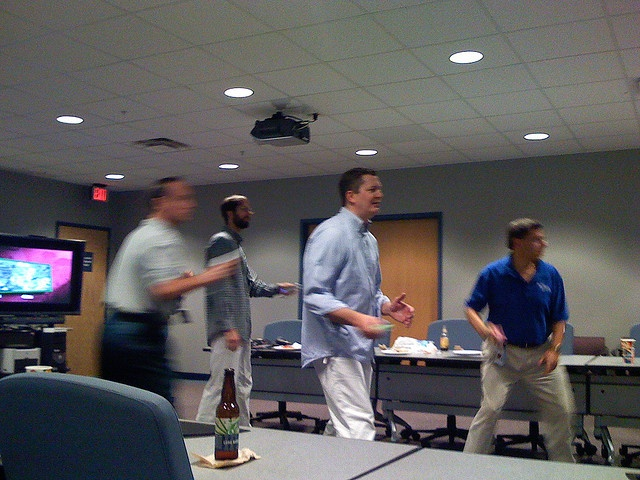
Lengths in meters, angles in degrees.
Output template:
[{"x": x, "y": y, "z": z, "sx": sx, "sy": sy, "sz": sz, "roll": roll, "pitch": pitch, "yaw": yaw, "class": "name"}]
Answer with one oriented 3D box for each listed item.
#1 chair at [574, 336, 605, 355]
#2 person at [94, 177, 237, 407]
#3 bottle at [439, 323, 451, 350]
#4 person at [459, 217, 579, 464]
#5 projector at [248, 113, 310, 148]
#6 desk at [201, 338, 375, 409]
[{"x": 3.388, "y": 1.324, "z": 6.323, "sx": 0.420, "sy": 0.245, "sz": 0.223, "roll": -2, "pitch": -3, "yaw": 35, "class": "chair"}, {"x": -0.638, "y": 0.178, "z": 2.084, "sx": 0.504, "sy": 0.942, "sz": 0.330, "roll": 1, "pitch": -4, "yaw": -14, "class": "person"}, {"x": 1.148, "y": 0.905, "z": 4.649, "sx": 0.093, "sy": 0.213, "sz": 0.331, "roll": -1, "pitch": -4, "yaw": 13, "class": "bottle"}, {"x": 1.286, "y": 0.628, "z": 3.323, "sx": 0.639, "sy": 1.541, "sz": 0.360, "roll": -1, "pitch": -4, "yaw": 22, "class": "person"}, {"x": -0.444, "y": -1.201, "z": 5.525, "sx": 0.532, "sy": 0.217, "sz": 0.352, "roll": 1, "pitch": 1, "yaw": 13, "class": "projector"}, {"x": -0.315, "y": 1.285, "z": 4.702, "sx": 0.903, "sy": 0.798, "sz": 0.845, "roll": 9, "pitch": -10, "yaw": -29, "class": "desk"}]
